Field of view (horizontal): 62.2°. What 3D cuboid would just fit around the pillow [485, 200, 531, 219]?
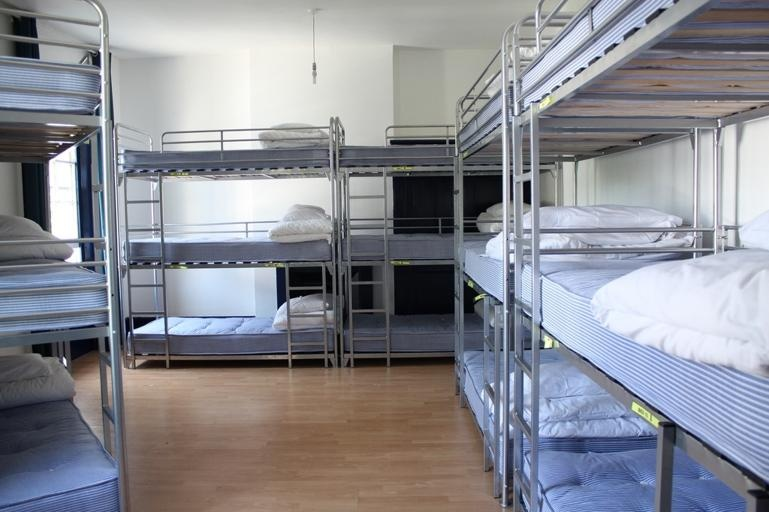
[{"bbox_3d":[1.314,-0.518,6.936,0.665,0.133,0.519,-3,1,2],"label":"pillow"}]

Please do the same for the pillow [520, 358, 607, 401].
[{"bbox_3d":[1.236,0.853,4.355,0.497,0.080,0.356,0,2,4],"label":"pillow"}]

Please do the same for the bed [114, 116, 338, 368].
[{"bbox_3d":[-1.812,-0.196,7.310,2.753,2.771,2.047,-1,2,0],"label":"bed"}]
